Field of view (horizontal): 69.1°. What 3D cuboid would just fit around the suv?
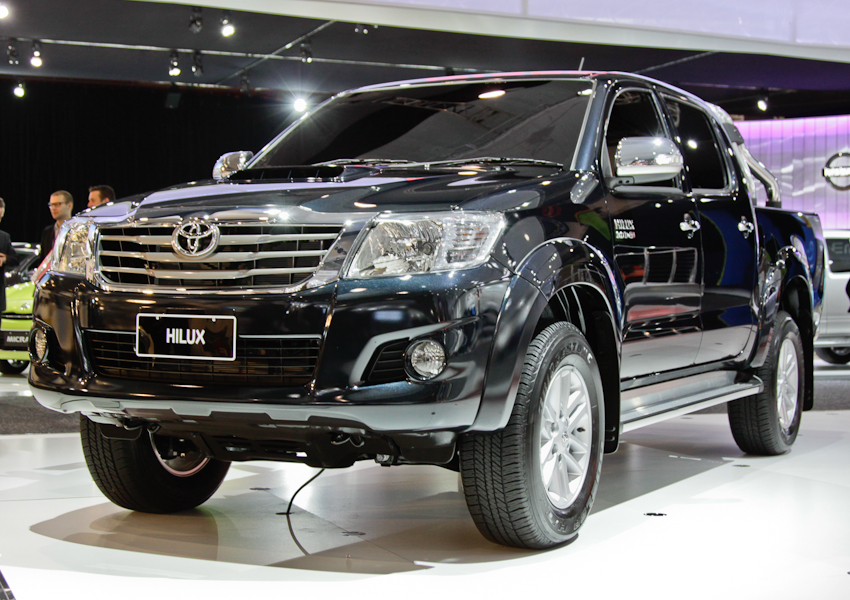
[{"bbox_3d":[0.674,-0.093,4.124,2.947,1.447,4.603,-2,-2,32],"label":"suv"}]
